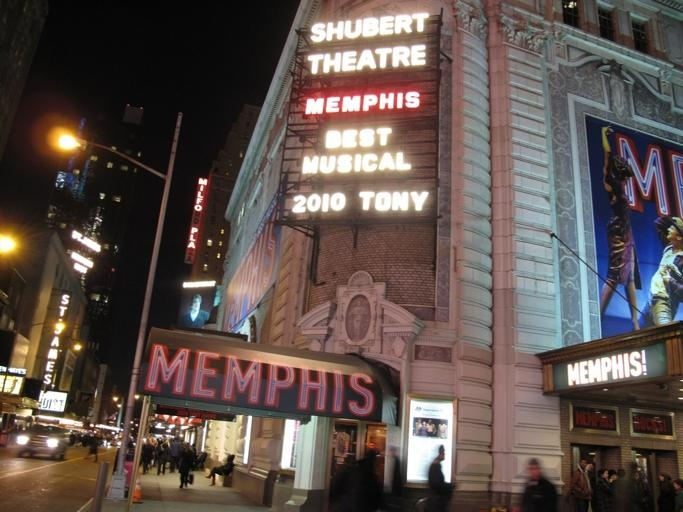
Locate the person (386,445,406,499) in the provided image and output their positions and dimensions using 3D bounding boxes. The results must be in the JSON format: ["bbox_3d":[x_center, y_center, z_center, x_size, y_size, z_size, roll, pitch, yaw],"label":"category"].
[{"bbox_3d":[2.125,8.363,23.433,0.585,1.810,0.144,-2,-22,21],"label":"person"}]
